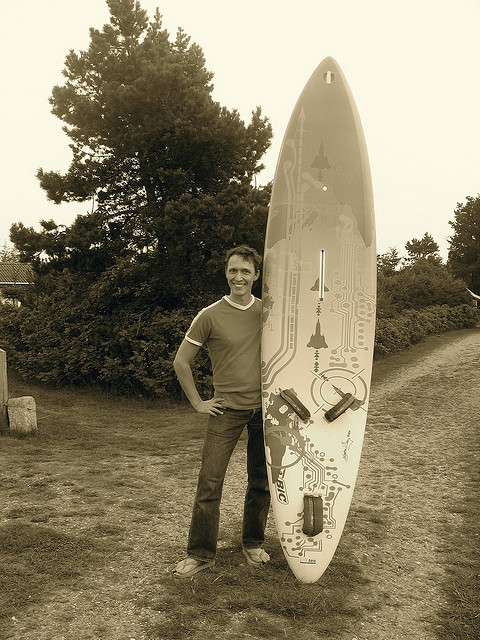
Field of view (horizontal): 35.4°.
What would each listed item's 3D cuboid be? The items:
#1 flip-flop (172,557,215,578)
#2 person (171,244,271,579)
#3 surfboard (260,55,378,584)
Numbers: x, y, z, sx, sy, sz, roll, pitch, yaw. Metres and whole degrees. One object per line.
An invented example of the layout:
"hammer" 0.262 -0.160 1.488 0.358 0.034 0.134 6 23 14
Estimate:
"flip-flop" -0.261 1.352 4.115 0.230 0.068 0.083 -4 10 -34
"person" -0.084 0.498 4.199 0.603 1.809 0.354 0 6 -17
"surfboard" 0.436 -0.082 4.412 0.661 3.016 0.769 5 7 29
